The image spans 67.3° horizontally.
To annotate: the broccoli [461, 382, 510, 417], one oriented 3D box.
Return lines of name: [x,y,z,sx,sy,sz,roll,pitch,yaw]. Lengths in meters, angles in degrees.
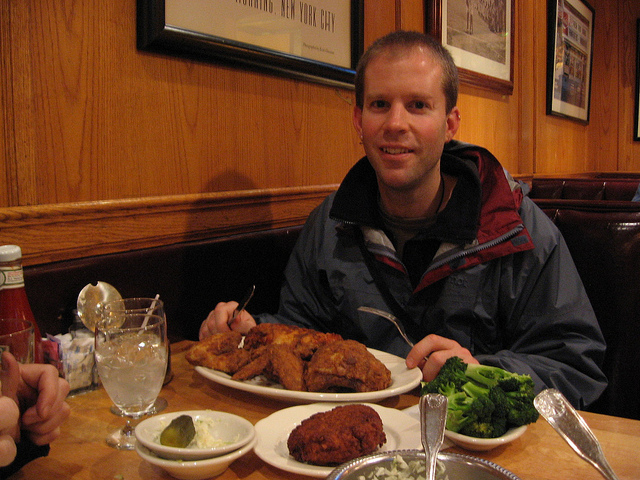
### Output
broccoli: [0.430,0.407,1.249,0.086,0.048,0.054,21,1,43]

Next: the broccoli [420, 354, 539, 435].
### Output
broccoli: [0.424,0.356,1.260,0.185,0.096,0.203,-1,6,-3]

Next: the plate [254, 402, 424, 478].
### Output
plate: [0.048,0.487,1.226,0.431,0.091,0.350,1,8,-5]

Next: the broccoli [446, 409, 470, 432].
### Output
broccoli: [0.346,0.456,1.219,0.052,0.059,0.022,-20,9,6]

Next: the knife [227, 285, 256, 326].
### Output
knife: [-0.310,0.245,1.869,0.092,0.147,0.127,0,7,-9]

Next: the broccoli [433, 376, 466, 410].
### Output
broccoli: [0.346,0.411,1.290,0.053,0.073,0.053,-7,-5,-28]

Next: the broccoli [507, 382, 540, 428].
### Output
broccoli: [0.510,0.424,1.245,0.080,0.054,0.094,-21,32,-25]

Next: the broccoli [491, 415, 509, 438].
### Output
broccoli: [0.446,0.462,1.196,0.035,0.017,0.047,-5,50,2]

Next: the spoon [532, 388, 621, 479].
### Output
spoon: [0.584,0.453,1.097,0.185,0.155,0.129,7,9,35]

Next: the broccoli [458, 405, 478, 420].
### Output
broccoli: [0.372,0.430,1.209,0.049,0.026,0.020,8,10,39]

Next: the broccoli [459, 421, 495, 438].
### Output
broccoli: [0.392,0.469,1.188,0.041,0.018,0.046,3,5,11]

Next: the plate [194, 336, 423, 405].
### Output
plate: [-0.028,0.440,1.476,0.703,0.084,0.322,-1,8,-15]
